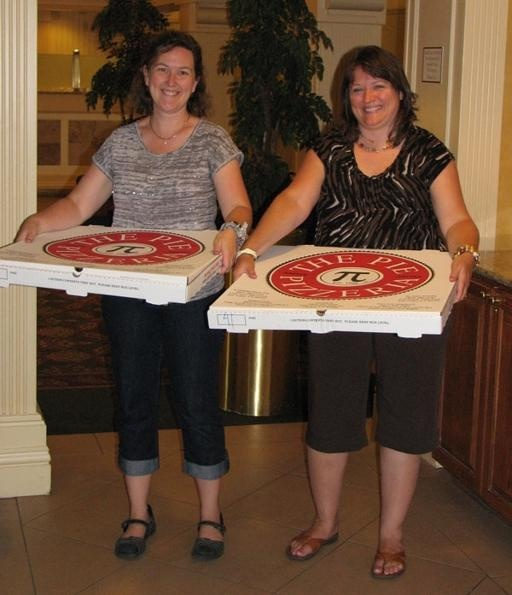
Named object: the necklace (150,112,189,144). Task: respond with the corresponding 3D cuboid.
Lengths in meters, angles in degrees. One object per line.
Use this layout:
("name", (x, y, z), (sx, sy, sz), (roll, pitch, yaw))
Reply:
("necklace", (-0.243, -0.472, 1.685), (0.128, 0.086, 0.044), (1, -1, 6))

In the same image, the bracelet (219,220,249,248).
("bracelet", (-0.057, -0.157, 1.537), (0.078, 0.025, 0.075), (22, -20, -3))

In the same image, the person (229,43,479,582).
("person", (0.262, 0.076, 1.656), (0.578, 1.538, 0.514), (3, 14, 4))

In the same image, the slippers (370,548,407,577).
("slippers", (0.394, 0.782, 1.763), (0.091, 0.036, 0.145), (0, 9, 12))

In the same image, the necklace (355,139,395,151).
("necklace", (0.320, -0.405, 1.601), (0.102, 0.031, 0.016), (10, 15, 39))

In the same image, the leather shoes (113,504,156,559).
("leather shoes", (-0.385, 0.751, 1.919), (0.074, 0.058, 0.182), (-1, 4, 5))

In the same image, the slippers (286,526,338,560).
("slippers", (0.181, 0.761, 1.881), (0.166, 0.037, 0.069), (-10, 19, -35))

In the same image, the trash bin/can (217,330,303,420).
("trash bin/can", (-0.005, 0.362, 3.163), (0.629, 0.483, 0.518), (0, 5, 2))

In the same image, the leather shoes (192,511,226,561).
("leather shoes", (-0.147, 0.753, 1.867), (0.071, 0.040, 0.157), (-1, 7, 2))

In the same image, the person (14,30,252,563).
("person", (-0.325, 0.034, 1.736), (0.629, 1.570, 0.530), (5, 14, 10))
